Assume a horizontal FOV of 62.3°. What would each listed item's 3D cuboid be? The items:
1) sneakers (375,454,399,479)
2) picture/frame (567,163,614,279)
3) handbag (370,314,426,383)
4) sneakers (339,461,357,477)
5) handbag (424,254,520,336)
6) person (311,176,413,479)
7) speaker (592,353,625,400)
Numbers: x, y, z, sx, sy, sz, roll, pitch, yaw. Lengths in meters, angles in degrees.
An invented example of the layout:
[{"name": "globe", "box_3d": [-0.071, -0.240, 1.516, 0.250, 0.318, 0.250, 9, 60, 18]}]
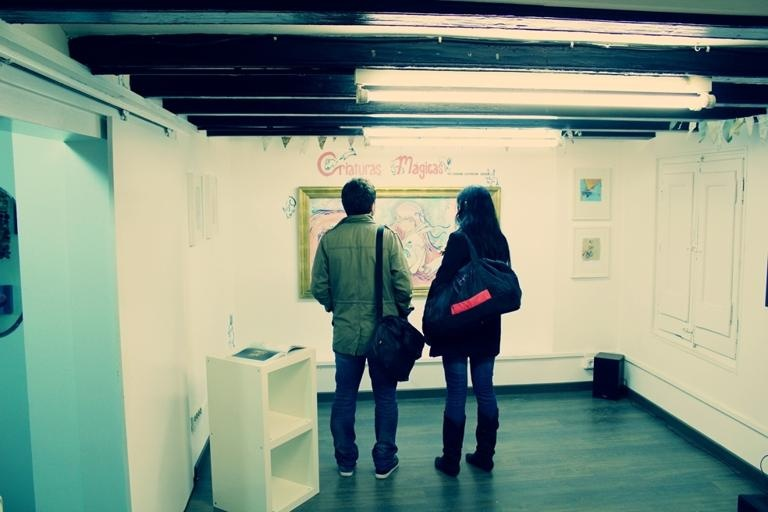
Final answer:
[{"name": "sneakers", "box_3d": [0.027, 1.639, 4.949, 0.087, 0.098, 0.251, 1, 2, 15]}, {"name": "picture/frame", "box_3d": [2.118, -0.343, 6.483, 0.409, 1.094, 0.249, 0, 14, 4]}, {"name": "handbag", "box_3d": [0.098, 0.671, 4.607, 0.361, 0.449, 0.172, 0, 13, 2]}, {"name": "sneakers", "box_3d": [-0.293, 1.650, 4.952, 0.070, 0.071, 0.174, 0, -2, 1]}, {"name": "handbag", "box_3d": [0.632, 0.276, 4.708, 0.645, 0.617, 0.233, -22, -18, 16]}, {"name": "person", "box_3d": [-0.174, 0.563, 4.823, 0.711, 2.259, 0.483, 4, 14, 19]}, {"name": "speaker", "box_3d": [2.276, 1.185, 6.394, 0.320, 0.426, 0.320, 5, 14, 20]}]
